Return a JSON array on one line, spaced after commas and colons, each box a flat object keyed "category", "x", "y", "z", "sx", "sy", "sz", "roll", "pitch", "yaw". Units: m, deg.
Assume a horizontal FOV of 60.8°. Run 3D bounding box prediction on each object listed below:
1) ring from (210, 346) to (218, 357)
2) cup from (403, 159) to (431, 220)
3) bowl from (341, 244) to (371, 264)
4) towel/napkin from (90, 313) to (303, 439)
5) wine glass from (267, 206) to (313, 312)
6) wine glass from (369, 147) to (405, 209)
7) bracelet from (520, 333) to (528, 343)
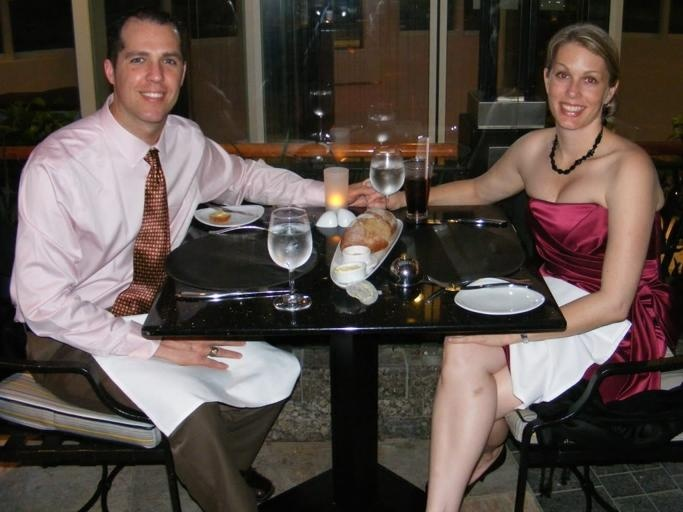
[{"category": "ring", "x": -0.385, "y": 0.294, "z": 1.771, "sx": 0.030, "sy": 0.031, "sz": 0.029, "roll": 3, "pitch": 28, "yaw": -2}, {"category": "cup", "x": 0.268, "y": -0.217, "z": 2.004, "sx": 0.112, "sy": 0.186, "sz": 0.116, "roll": 0, "pitch": 7, "yaw": 0}, {"category": "bowl", "x": 0.041, "y": -0.008, "z": 1.636, "sx": 0.054, "sy": 0.041, "sz": 0.059, "roll": -1, "pitch": 16, "yaw": 0}, {"category": "towel/napkin", "x": -0.374, "y": 0.382, "z": 1.754, "sx": 0.399, "sy": 0.123, "sz": 0.400, "roll": 5, "pitch": 14, "yaw": -36}, {"category": "wine glass", "x": -0.132, "y": 0.004, "z": 1.532, "sx": 0.107, "sy": 0.224, "sz": 0.207, "roll": -3, "pitch": 17, "yaw": -6}, {"category": "wine glass", "x": 0.160, "y": -0.237, "z": 2.039, "sx": 0.120, "sy": 0.277, "sz": 0.106, "roll": 4, "pitch": 22, "yaw": 12}, {"category": "bracelet", "x": 0.523, "y": 0.238, "z": 1.670, "sx": 0.019, "sy": 0.023, "sz": 0.021, "roll": -1, "pitch": 6, "yaw": -3}]
